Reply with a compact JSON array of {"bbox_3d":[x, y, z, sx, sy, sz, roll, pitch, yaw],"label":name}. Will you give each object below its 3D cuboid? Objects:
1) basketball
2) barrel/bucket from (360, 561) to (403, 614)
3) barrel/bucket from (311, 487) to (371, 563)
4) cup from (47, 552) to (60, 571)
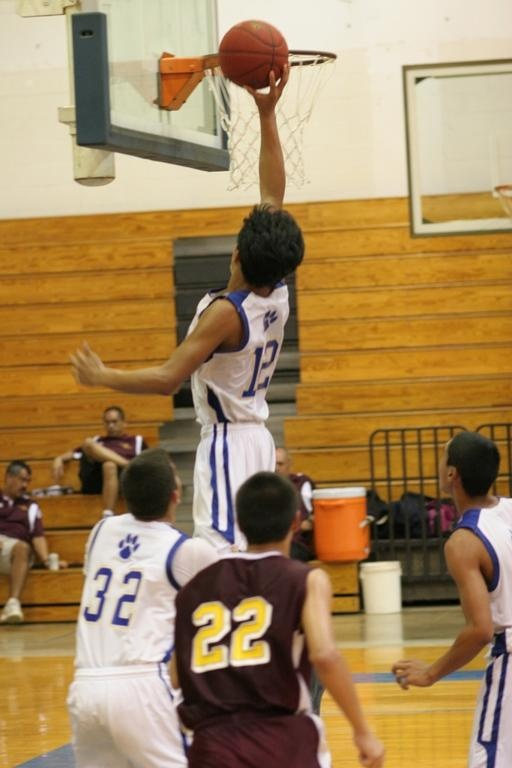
[{"bbox_3d":[-0.003,-0.889,2.773,0.217,0.188,0.200,1,-2,7],"label":"basketball"},{"bbox_3d":[0.697,1.170,5.878,0.344,0.293,0.296,-1,-5,-3],"label":"barrel/bucket"},{"bbox_3d":[0.421,0.810,5.791,0.438,0.404,0.399,-2,-8,0],"label":"barrel/bucket"},{"bbox_3d":[-1.281,1.126,6.393,0.081,0.102,0.230,-3,-3,-10],"label":"cup"}]
